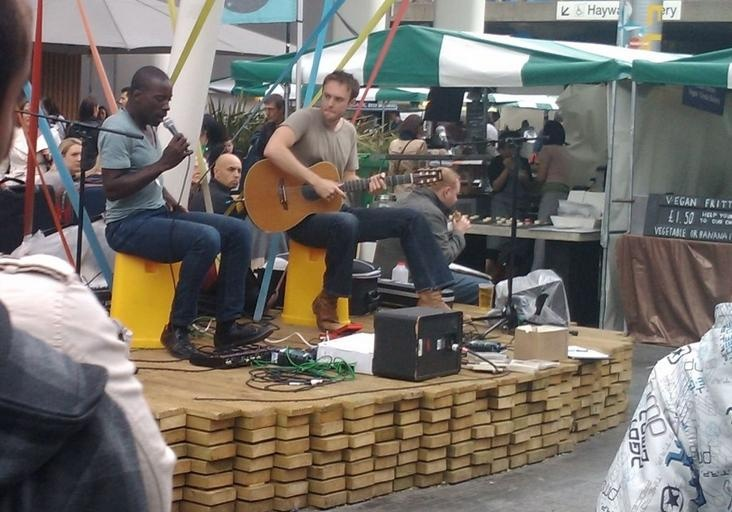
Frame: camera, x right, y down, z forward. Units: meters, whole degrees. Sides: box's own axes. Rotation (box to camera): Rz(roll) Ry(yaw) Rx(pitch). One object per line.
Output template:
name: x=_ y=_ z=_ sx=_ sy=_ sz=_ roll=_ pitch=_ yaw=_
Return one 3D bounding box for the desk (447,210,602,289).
desk: x=1.525 y=-0.082 z=8.051 sx=1.097 sy=0.522 sz=1.088 roll=-15 pitch=18 yaw=-34

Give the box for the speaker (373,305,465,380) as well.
speaker: x=0.239 y=0.417 z=4.413 sx=0.323 sy=0.382 sz=0.475 roll=-1 pitch=-2 yaw=45

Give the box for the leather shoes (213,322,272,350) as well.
leather shoes: x=-0.699 y=0.427 z=4.937 sx=0.338 sy=0.144 sz=0.128 roll=-7 pitch=9 yaw=-21

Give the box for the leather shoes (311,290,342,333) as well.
leather shoes: x=-0.232 y=0.339 z=5.426 sx=0.099 sy=0.201 sz=0.193 roll=-22 pitch=-5 yaw=-43

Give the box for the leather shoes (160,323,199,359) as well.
leather shoes: x=-0.989 y=0.456 z=4.760 sx=0.099 sy=0.124 sz=0.285 roll=0 pitch=6 yaw=-37

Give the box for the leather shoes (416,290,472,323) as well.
leather shoes: x=0.449 y=0.294 z=5.183 sx=0.204 sy=0.186 sz=0.207 roll=0 pitch=5 yaw=16

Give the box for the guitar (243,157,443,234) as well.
guitar: x=-0.159 y=-0.402 z=5.523 sx=1.132 sy=0.444 sz=0.151 roll=-6 pitch=8 yaw=-15
